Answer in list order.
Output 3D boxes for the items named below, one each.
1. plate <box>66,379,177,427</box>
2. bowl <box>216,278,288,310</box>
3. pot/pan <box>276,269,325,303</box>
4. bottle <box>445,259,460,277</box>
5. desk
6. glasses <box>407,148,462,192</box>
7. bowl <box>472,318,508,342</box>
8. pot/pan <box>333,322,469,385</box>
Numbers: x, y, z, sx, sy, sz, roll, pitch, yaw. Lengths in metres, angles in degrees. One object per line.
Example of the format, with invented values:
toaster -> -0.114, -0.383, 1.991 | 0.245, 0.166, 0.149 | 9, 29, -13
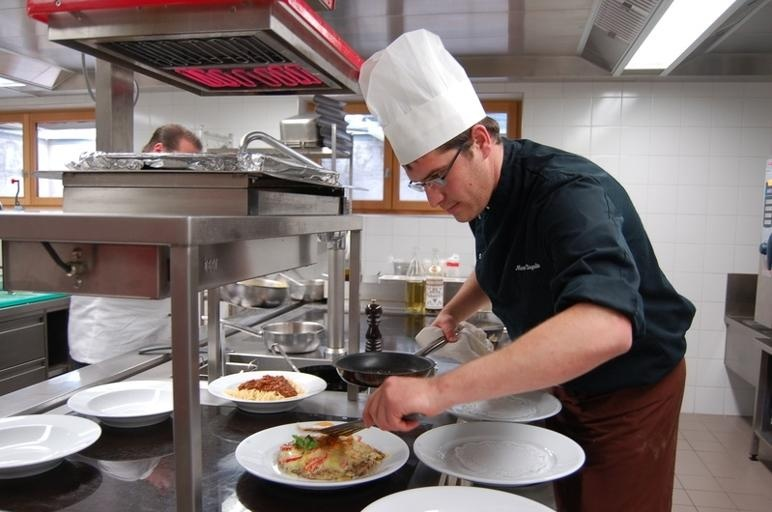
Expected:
plate -> -0.863, 0.483, 1.824 | 0.306, 0.057, 0.293 | 2, 5, -8
bowl -> -0.577, 0.171, 2.566 | 0.246, 0.087, 0.242 | 0, -9, 0
pot/pan -> -0.529, 0.190, 3.410 | 0.262, 0.141, 0.387 | 1, -4, -14
bottle -> 0.527, 0.097, 4.439 | 0.110, 0.128, 0.132 | 0, -2, -3
desk -> -0.463, 0.233, 1.552 | 0.442, 0.726, 0.945 | 3, 3, 45
glasses -> 0.157, -0.290, 1.743 | 0.135, 0.040, 0.137 | -16, 24, 46
bowl -> 0.559, 0.378, 2.859 | 0.134, 0.055, 0.168 | 3, 6, 44
pot/pan -> 0.051, 0.346, 1.959 | 0.301, 0.072, 0.547 | 2, 3, 37
